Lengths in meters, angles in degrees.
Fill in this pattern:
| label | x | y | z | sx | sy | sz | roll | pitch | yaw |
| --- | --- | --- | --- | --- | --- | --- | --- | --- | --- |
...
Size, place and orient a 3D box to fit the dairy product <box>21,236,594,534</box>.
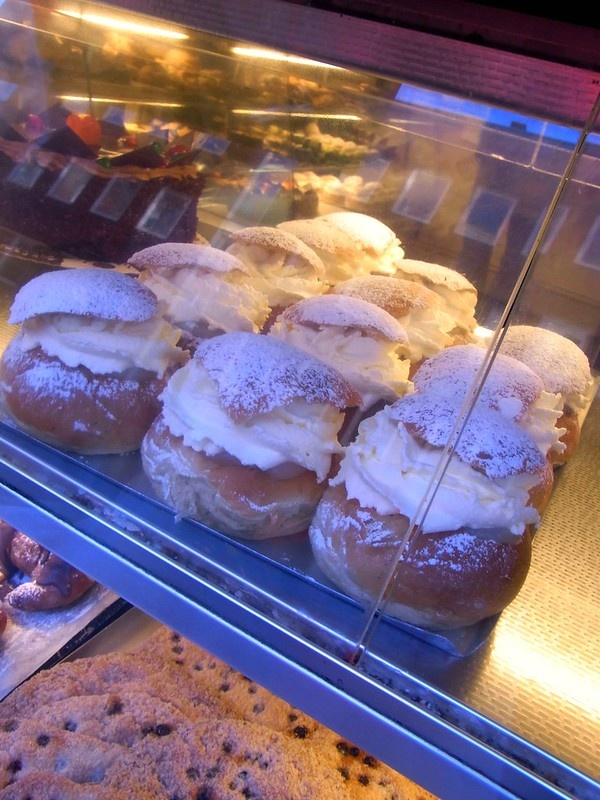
| label | x | y | z | sx | sy | sz | roll | pitch | yaw |
| --- | --- | --- | --- | --- | --- | --- | --- | --- | --- |
| dairy product | -0.113 | 0.010 | 1.406 | 0.766 | 0.195 | 0.671 | -2 | 38 | -4 |
